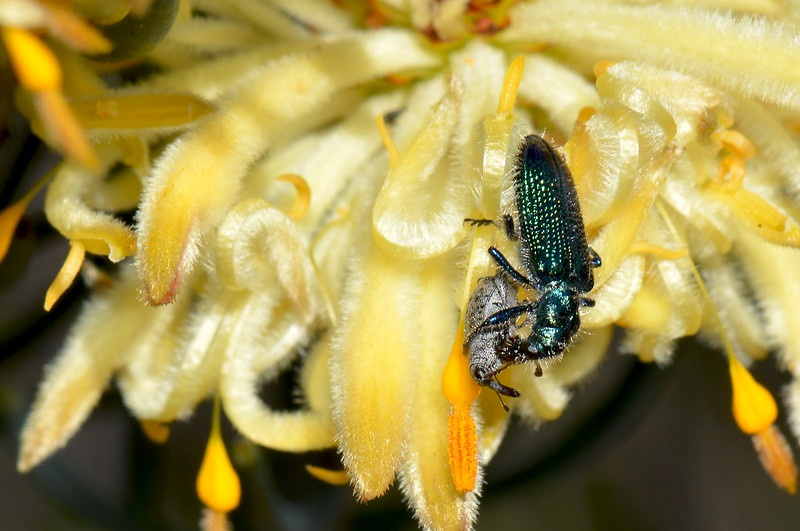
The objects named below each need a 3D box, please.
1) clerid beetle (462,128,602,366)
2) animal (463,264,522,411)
[{"bbox_3d":[0.150,-0.020,1.079,0.065,0.171,0.242,-4,91,40],"label":"clerid beetle"},{"bbox_3d":[0.106,0.090,1.078,0.081,0.034,0.123,4,91,-30],"label":"animal"}]
